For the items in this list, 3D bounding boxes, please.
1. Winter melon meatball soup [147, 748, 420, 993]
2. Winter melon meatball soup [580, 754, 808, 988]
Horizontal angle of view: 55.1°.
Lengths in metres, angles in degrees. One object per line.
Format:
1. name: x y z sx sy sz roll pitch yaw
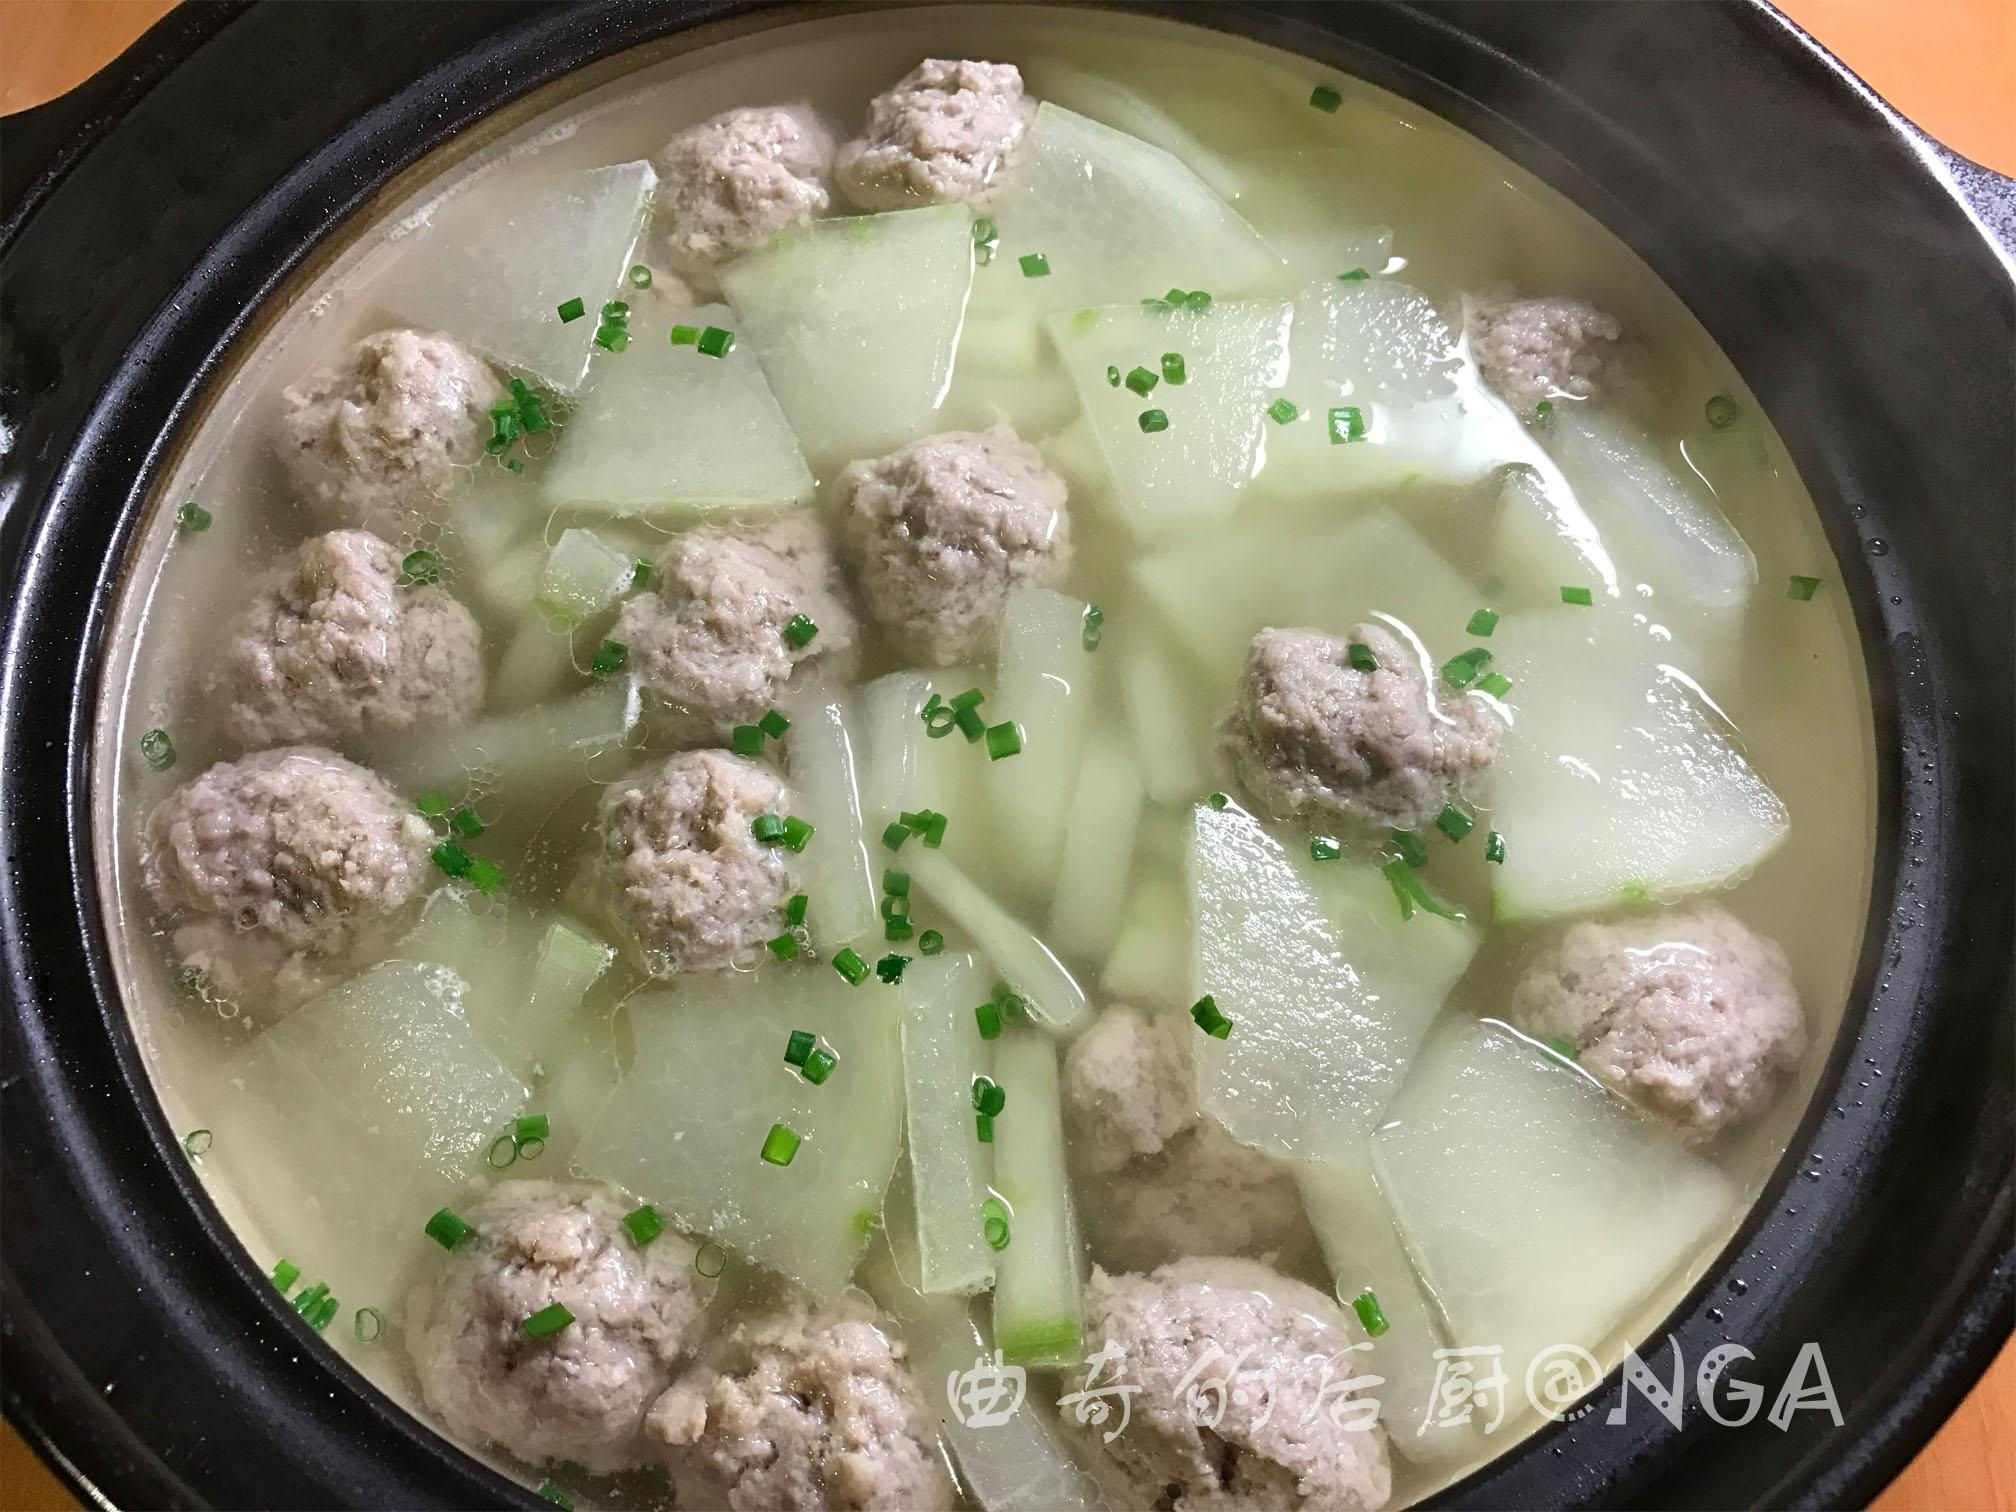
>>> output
1. Winter melon meatball soup: -1.404 0.260 3.822 0.502 0.137 0.526 0 86 -1
2. Winter melon meatball soup: -0.648 0.218 3.809 0.427 0.157 0.431 -4 86 -1
